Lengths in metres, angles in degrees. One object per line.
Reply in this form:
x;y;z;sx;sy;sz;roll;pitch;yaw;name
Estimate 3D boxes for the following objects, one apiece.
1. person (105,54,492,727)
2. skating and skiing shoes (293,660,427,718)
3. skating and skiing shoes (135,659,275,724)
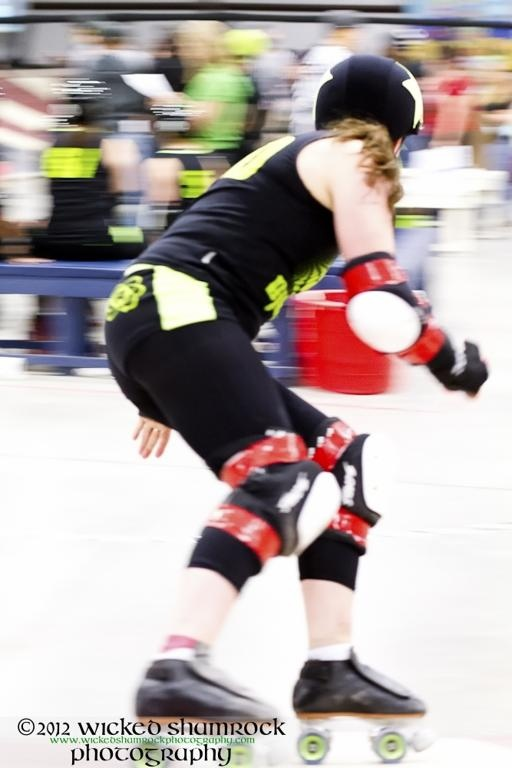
0.015;-0.030;1.168;0.532;0.846;0.504;-2;6;-28;person
0.125;0.390;1.012;0.215;0.075;0.066;1;-7;-3;skating and skiing shoes
-0.066;0.332;0.836;0.190;0.067;0.058;3;-11;-4;skating and skiing shoes
